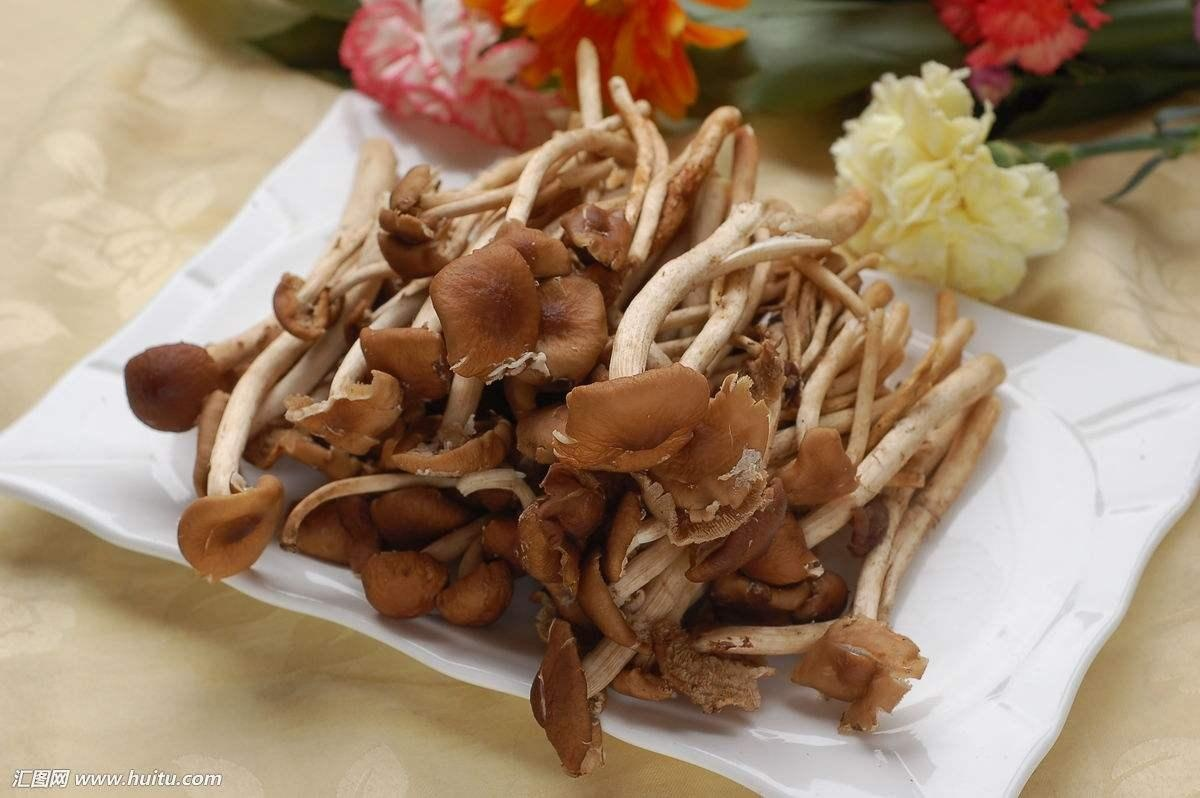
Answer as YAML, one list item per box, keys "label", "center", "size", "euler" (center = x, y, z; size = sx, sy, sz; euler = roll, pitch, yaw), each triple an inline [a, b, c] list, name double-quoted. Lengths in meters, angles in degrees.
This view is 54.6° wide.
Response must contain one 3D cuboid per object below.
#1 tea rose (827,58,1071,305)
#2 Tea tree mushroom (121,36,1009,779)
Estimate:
- label: "tea rose"
  center: [0.612, -0.378, 2.038]
  size: [0.447, 0.192, 0.396]
  euler: [-1, 74, 0]
- label: "Tea tree mushroom"
  center: [-0.042, -0.126, 2.088]
  size: [1.001, 0.810, 1.325]
  euler: [1, 34, 1]
